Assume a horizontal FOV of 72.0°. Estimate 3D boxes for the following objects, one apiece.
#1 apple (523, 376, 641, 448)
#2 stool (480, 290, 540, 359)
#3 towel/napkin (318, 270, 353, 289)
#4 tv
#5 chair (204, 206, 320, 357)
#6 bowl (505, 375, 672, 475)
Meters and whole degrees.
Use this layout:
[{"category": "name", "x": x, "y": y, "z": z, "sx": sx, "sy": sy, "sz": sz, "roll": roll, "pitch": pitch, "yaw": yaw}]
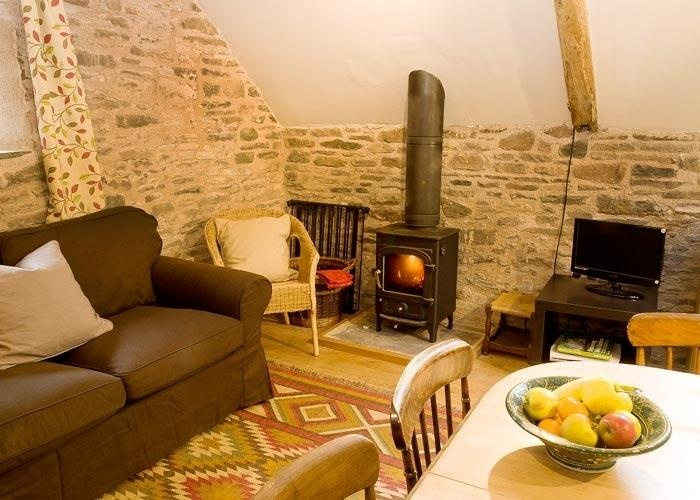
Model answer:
[{"category": "apple", "x": 0.661, "y": 0.389, "z": 1.316, "sx": 0.212, "sy": 0.111, "sz": 0.211, "roll": -6, "pitch": 11, "yaw": -35}, {"category": "stool", "x": 1.329, "y": 0.622, "z": 4.093, "sx": 0.542, "sy": 0.450, "sz": 0.534, "roll": 6, "pitch": 16, "yaw": 25}, {"category": "towel/napkin", "x": -0.133, "y": 0.262, "z": 4.345, "sx": 0.268, "sy": 0.155, "sz": 0.225, "roll": -6, "pitch": 14, "yaw": -34}, {"category": "tv", "x": 1.977, "y": 0.062, "z": 3.523, "sx": 0.608, "sy": 0.501, "sz": 0.202, "roll": 6, "pitch": 10, "yaw": 39}, {"category": "chair", "x": -0.655, "y": 0.217, "z": 3.971, "sx": 0.865, "sy": 0.908, "sz": 0.832, "roll": 4, "pitch": 22, "yaw": 3}, {"category": "bowl", "x": 0.666, "y": 0.503, "z": 1.381, "sx": 0.401, "sy": 0.187, "sz": 0.333, "roll": 10, "pitch": 14, "yaw": 34}]
